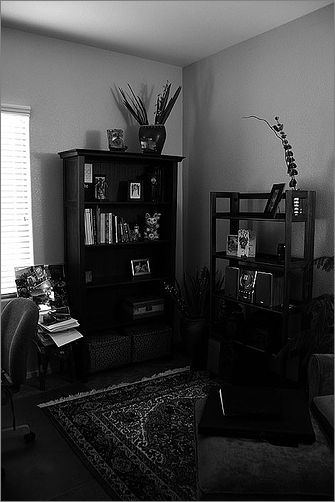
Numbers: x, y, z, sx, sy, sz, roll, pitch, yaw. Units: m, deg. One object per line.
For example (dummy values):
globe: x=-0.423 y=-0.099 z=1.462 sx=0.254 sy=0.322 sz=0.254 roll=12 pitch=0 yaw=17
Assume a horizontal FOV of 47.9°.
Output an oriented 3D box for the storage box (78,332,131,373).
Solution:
storage box: x=-0.483 y=0.733 z=3.092 sx=0.415 sy=0.296 sz=0.233 roll=-3 pitch=5 yaw=-34

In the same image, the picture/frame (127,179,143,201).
picture/frame: x=-0.281 y=-0.521 z=3.238 sx=0.161 sy=0.217 sz=0.016 roll=-3 pitch=6 yaw=-35

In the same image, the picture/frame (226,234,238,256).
picture/frame: x=0.509 y=-0.044 z=2.934 sx=0.020 sy=0.221 sz=0.147 roll=1 pitch=2 yaw=-31

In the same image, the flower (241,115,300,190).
flower: x=0.809 y=-0.770 z=2.801 sx=0.301 sy=0.685 sz=0.578 roll=-1 pitch=2 yaw=6

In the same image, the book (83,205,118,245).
book: x=-0.551 y=-0.198 z=3.046 sx=0.291 sy=0.315 sz=0.114 roll=-2 pitch=8 yaw=-39

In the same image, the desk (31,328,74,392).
desk: x=-0.947 y=0.828 z=3.015 sx=0.386 sy=0.595 sz=0.401 roll=1 pitch=-2 yaw=-29

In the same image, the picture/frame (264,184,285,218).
picture/frame: x=0.735 y=-0.350 z=2.588 sx=0.130 sy=0.248 sz=0.182 roll=0 pitch=2 yaw=16

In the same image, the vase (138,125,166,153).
vase: x=-0.136 y=-0.952 z=3.324 sx=0.215 sy=0.291 sz=0.216 roll=3 pitch=2 yaw=44

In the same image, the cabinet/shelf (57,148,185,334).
cabinet/shelf: x=-0.397 y=-0.013 z=3.251 sx=0.841 sy=1.615 sz=0.368 roll=-2 pitch=9 yaw=-21

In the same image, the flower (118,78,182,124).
flower: x=-0.160 y=-1.281 z=3.360 sx=0.556 sy=0.474 sz=0.478 roll=-2 pitch=5 yaw=-12
